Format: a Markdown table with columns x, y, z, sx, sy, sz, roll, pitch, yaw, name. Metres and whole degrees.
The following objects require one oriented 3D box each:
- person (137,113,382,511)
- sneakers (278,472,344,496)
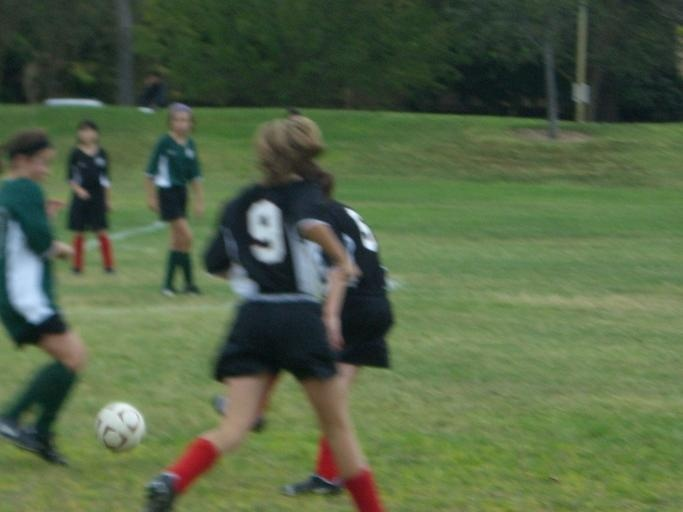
| x | y | z | sx | sy | sz | roll | pitch | yaw | name |
| --- | --- | --- | --- | --- | --- | --- | --- | --- | --- |
| -0.413 | 0.352 | 7.601 | 1.278 | 2.350 | 0.467 | -1 | 8 | -9 | person |
| -0.205 | 1.490 | 8.300 | 0.437 | 0.184 | 0.147 | 4 | -8 | 2 | sneakers |
